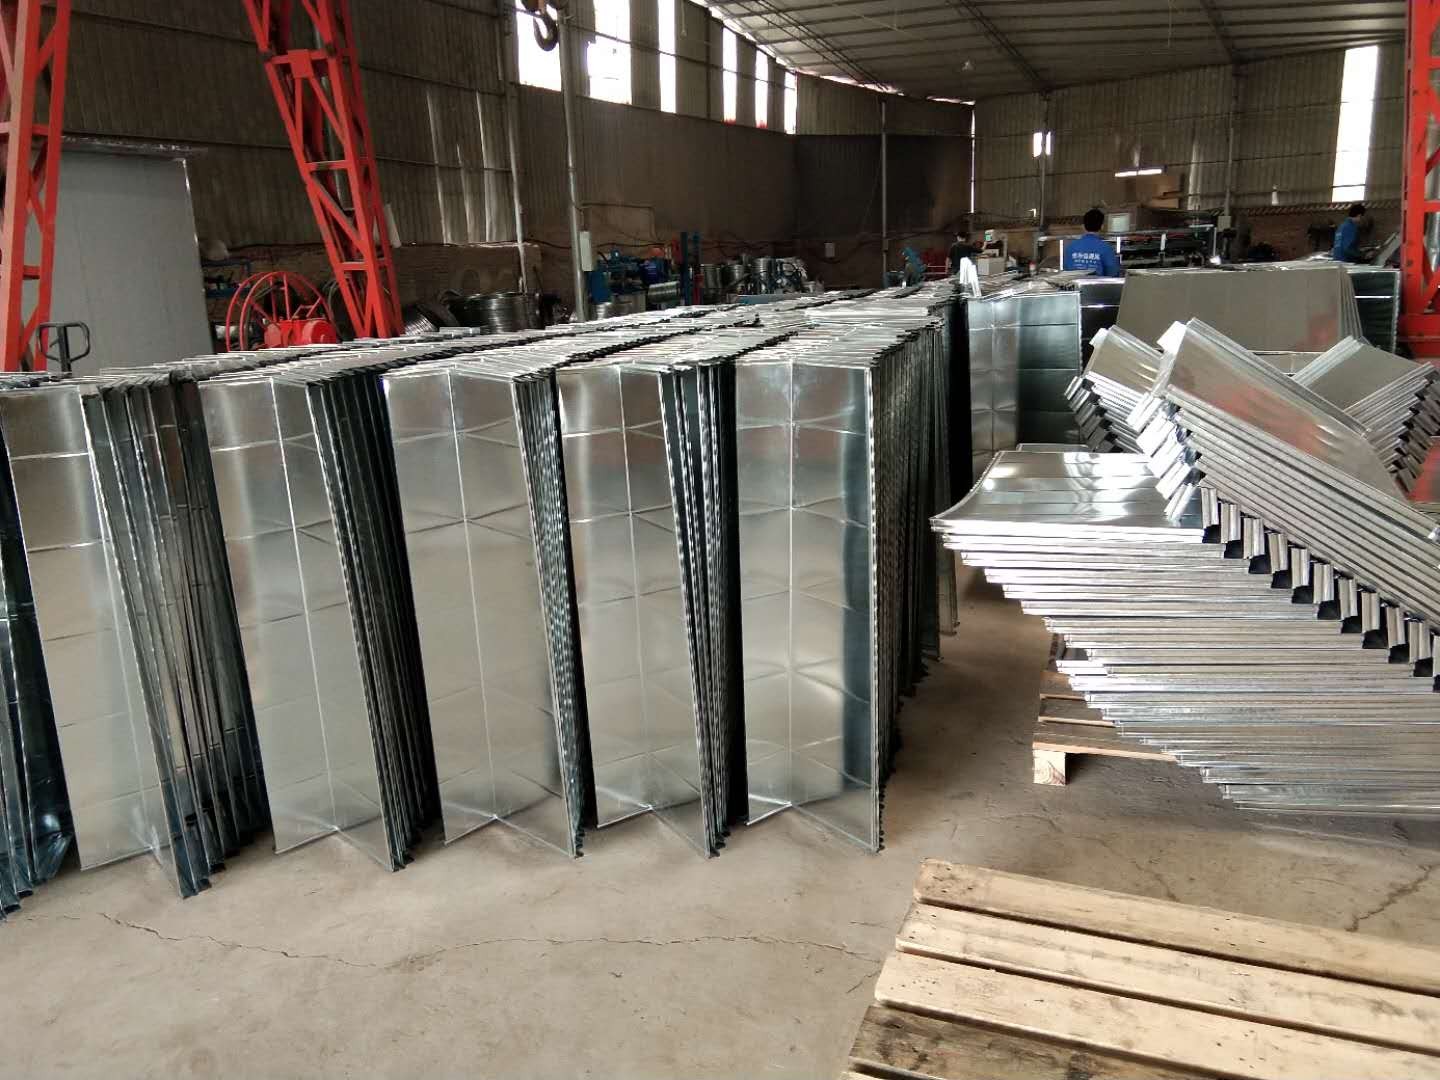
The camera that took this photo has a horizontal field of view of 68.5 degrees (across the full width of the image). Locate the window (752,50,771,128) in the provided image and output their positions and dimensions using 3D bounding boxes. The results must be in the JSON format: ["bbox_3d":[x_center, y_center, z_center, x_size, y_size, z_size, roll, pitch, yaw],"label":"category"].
[{"bbox_3d":[0.810,-9.392,22.064,0.179,1.420,0.729,1,17,20],"label":"window"}]

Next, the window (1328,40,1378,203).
[{"bbox_3d":[12.236,-8.047,20.517,0.651,2.800,0.333,4,18,31],"label":"window"}]

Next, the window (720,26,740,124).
[{"bbox_3d":[0.147,-9.099,20.802,0.267,1.567,0.785,0,17,19],"label":"window"}]

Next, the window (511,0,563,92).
[{"bbox_3d":[-2.787,-7.403,15.925,0.356,1.117,1.148,-2,16,13],"label":"window"}]
